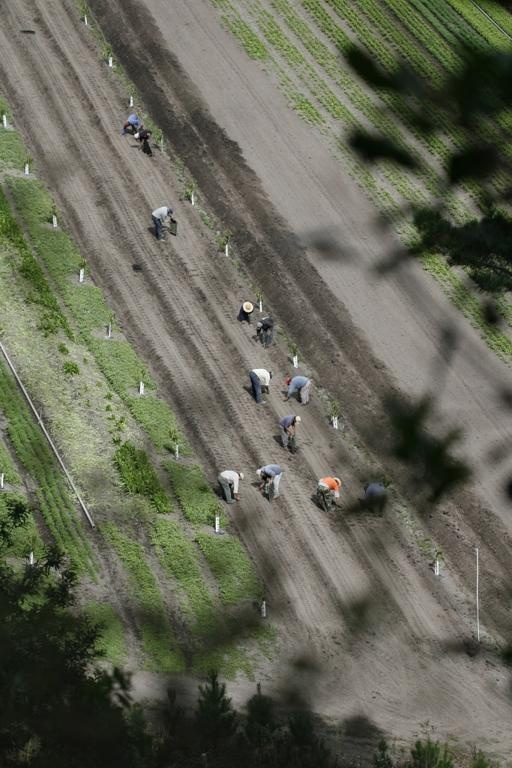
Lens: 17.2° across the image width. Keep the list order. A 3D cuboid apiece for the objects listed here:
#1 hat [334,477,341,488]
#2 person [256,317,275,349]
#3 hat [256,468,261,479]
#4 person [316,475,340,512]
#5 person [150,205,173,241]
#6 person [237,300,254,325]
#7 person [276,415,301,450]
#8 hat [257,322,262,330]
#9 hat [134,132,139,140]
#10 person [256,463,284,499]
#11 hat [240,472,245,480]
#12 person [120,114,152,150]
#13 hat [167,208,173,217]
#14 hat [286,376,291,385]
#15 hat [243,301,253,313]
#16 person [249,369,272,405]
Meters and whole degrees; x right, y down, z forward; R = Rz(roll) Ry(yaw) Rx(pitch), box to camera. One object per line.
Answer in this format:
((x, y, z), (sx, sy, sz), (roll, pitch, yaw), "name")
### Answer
((2.109, 2.652, 44.054), (0.106, 0.376, 0.145), (-6, 10, 12), "hat")
((0.262, -1.560, 49.638), (0.380, 0.610, 0.914), (0, 12, -2), "person")
((0.079, 2.377, 44.749), (0.158, 0.142, 0.261), (-38, 3, -1), "hat")
((1.906, 2.787, 44.262), (0.452, 0.621, 1.010), (4, 35, -1), "person")
((-2.966, -4.972, 52.663), (0.508, 0.850, 0.574), (-7, 71, -21), "person")
((-0.354, -2.201, 50.240), (0.439, 0.949, 0.626), (-8, 76, -13), "person")
((0.876, 1.377, 46.591), (0.390, 0.771, 0.335), (22, 47, 2), "person")
((0.073, -1.700, 49.923), (0.144, 0.222, 0.208), (0, 1, 6), "hat")
((-3.973, -8.202, 55.915), (0.178, 0.148, 0.273), (2, 34, 9), "hat")
((0.345, 2.615, 44.709), (0.454, 1.030, 0.651), (4, 48, 44), "person")
((-0.399, 2.483, 45.149), (0.105, 0.146, 0.143), (-6, 6, -24), "hat")
((-4.021, -8.657, 56.367), (0.937, 1.053, 1.774), (-2, 45, -14), "person")
((-2.703, -5.322, 52.461), (0.079, 0.207, 0.140), (15, 10, 13), "hat")
((0.919, -0.091, 47.949), (0.124, 0.194, 0.171), (-2, 10, -19), "hat")
((-0.304, -2.253, 49.745), (0.081, 0.322, 0.284), (2, 11, 36), "hat")
((0.086, 0.109, 47.698), (0.440, 0.774, 0.410), (-18, 49, -15), "person")
